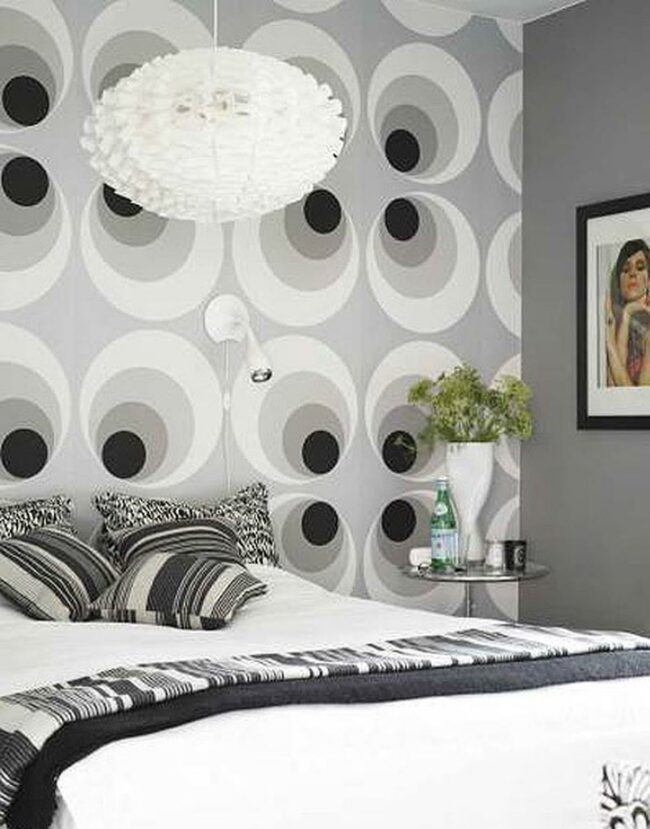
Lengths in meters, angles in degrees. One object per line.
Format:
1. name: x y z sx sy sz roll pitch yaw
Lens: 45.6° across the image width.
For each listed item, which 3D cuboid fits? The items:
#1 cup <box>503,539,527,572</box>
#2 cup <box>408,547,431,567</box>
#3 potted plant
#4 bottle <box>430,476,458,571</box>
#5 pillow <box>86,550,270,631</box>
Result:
1. cup: 0.832 0.619 3.383 0.113 0.195 0.120 0 -2 0
2. cup: 0.425 0.629 3.434 0.076 0.066 0.090 0 -1 -6
3. potted plant: 0.670 0.209 3.559 0.588 0.984 0.526 1 -25 -4
4. bottle: 0.489 0.459 3.259 0.111 0.373 0.172 -3 -25 5
5. pillow: -0.400 0.489 2.146 0.268 0.090 0.257 3 10 17
